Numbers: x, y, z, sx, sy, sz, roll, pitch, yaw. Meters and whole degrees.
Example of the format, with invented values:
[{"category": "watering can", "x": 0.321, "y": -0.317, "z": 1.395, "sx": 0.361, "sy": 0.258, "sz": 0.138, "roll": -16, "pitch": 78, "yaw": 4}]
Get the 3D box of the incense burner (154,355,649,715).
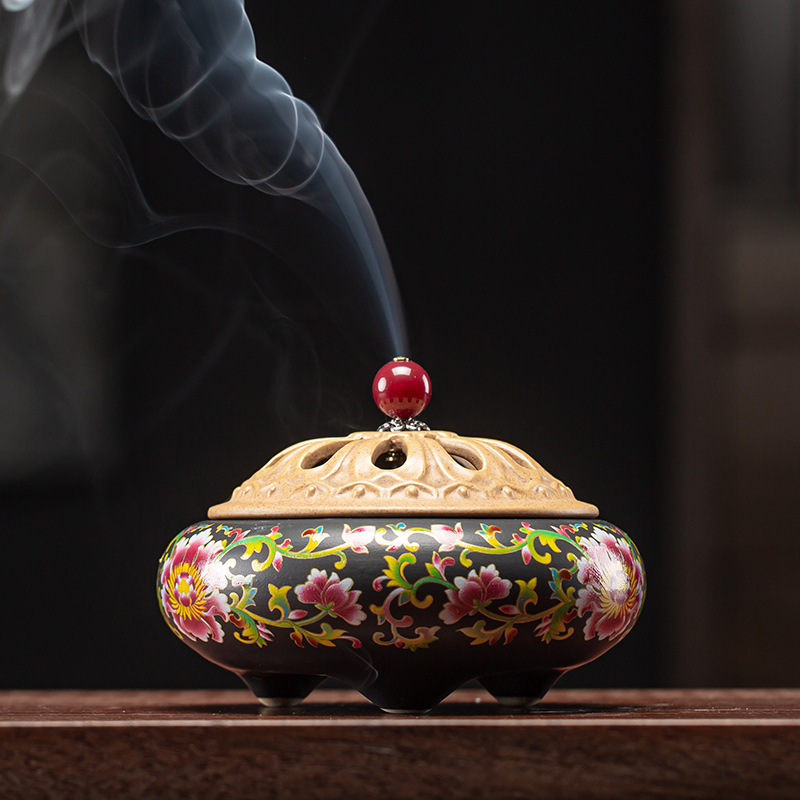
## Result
[{"category": "incense burner", "x": 0.013, "y": 0.101, "z": 0.951, "sx": 0.337, "sy": 0.196, "sz": 0.316, "roll": 0, "pitch": -5, "yaw": -4}]
